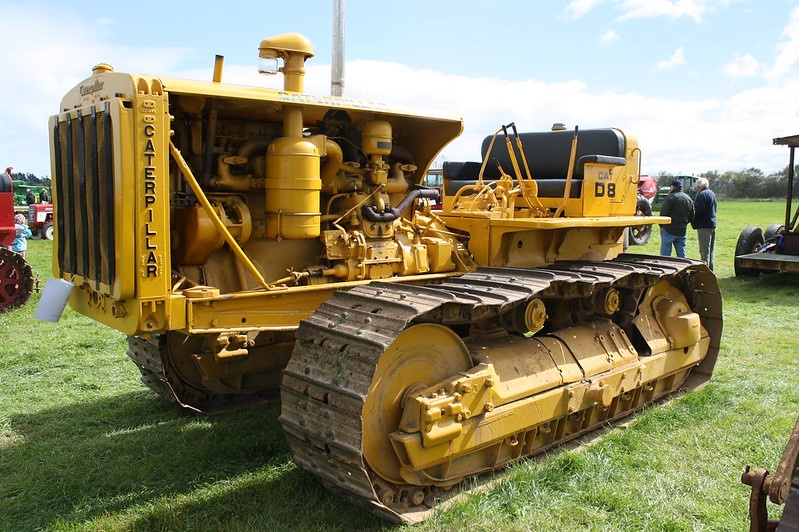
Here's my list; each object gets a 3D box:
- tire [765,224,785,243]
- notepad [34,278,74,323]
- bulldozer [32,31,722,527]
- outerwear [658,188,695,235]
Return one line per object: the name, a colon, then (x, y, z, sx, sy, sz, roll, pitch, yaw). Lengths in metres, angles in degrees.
tire: (8.587, -0.740, 14.292, 0.170, 0.469, 0.479, 32, -31, -6)
notepad: (-3.162, 0.327, 5.942, 0.288, 0.446, 0.272, 1, 4, -15)
bulldozer: (-0.029, -0.026, 6.729, 5.588, 3.251, 4.745, -1, 2, -41)
outerwear: (5.588, -1.078, 12.558, 0.743, 0.500, 0.903, 1, -28, 23)
